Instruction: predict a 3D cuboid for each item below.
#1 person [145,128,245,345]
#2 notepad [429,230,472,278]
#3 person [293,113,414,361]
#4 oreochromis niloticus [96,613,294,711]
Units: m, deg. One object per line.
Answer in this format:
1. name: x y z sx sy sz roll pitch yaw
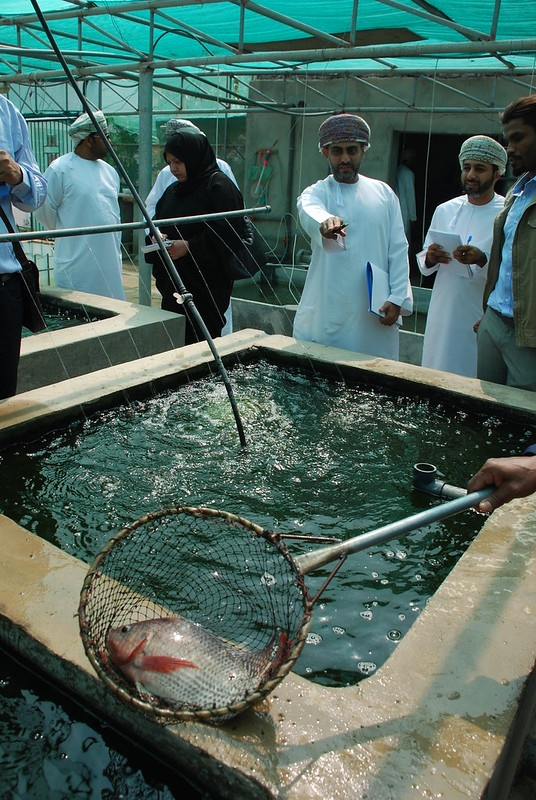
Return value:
1. person: -0.523 -1.179 4.741 0.741 1.543 0.677 -2 17 -16
2. notepad: 1.170 -0.932 4.114 0.329 0.433 0.043 30 72 35
3. person: 0.550 -0.921 3.858 0.748 1.436 0.692 1 16 -5
4. oreochromis niloticus: -0.148 0.498 1.218 0.341 0.095 0.196 8 32 20
